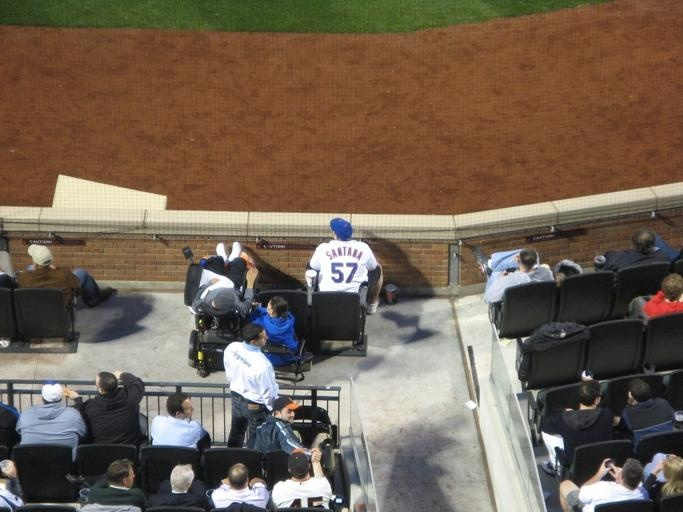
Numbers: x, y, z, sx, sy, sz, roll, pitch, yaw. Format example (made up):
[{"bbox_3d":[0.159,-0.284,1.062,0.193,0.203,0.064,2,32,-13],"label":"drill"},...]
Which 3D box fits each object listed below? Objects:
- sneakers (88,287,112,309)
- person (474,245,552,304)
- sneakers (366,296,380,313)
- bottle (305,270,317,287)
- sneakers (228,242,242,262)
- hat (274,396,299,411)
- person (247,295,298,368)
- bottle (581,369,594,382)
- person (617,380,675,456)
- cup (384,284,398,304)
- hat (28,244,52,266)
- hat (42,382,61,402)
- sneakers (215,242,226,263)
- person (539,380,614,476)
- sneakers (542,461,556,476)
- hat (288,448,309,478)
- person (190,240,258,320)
[{"bbox_3d":[-4.297,0.721,24.664,0.177,0.217,0.515,26,45,19],"label":"sneakers"},{"bbox_3d":[2.830,0.210,22.711,0.747,0.646,1.263,-19,22,1],"label":"person"},{"bbox_3d":[0.565,0.871,24.418,0.135,0.134,0.315,4,37,9],"label":"sneakers"},{"bbox_3d":[-0.516,0.383,23.876,0.287,0.321,0.261,2,14,0],"label":"bottle"},{"bbox_3d":[-1.850,-0.079,23.904,0.196,0.322,0.139,9,-12,-16],"label":"sneakers"},{"bbox_3d":[-0.833,2.238,20.765,0.320,0.151,0.209,3,5,-3],"label":"hat"},{"bbox_3d":[-1.126,1.261,22.392,0.601,1.260,0.797,-17,55,-14],"label":"person"},{"bbox_3d":[3.724,1.819,20.811,0.167,0.193,0.208,2,2,22],"label":"bottle"},{"bbox_3d":[4.474,2.331,20.157,0.927,1.121,0.947,-11,9,8],"label":"person"},{"bbox_3d":[0.861,0.686,24.680,0.342,0.288,0.308,0,12,0],"label":"cup"},{"bbox_3d":[-5.102,0.007,23.327,0.298,0.255,0.421,-21,54,-41],"label":"hat"},{"bbox_3d":[-4.359,2.060,20.707,0.329,0.289,0.194,-10,28,-20],"label":"hat"},{"bbox_3d":[-2.104,-0.074,24.042,0.194,0.337,0.075,-18,-7,7],"label":"sneakers"},{"bbox_3d":[3.498,2.554,20.236,1.102,1.699,1.086,-4,35,1],"label":"person"},{"bbox_3d":[3.154,3.226,20.822,0.100,0.200,0.273,-16,34,-2],"label":"sneakers"},{"bbox_3d":[-0.611,3.008,19.976,0.303,0.358,0.383,-4,15,-5],"label":"hat"},{"bbox_3d":[-1.915,0.400,23.045,0.850,0.456,1.240,3,38,-3],"label":"person"}]
